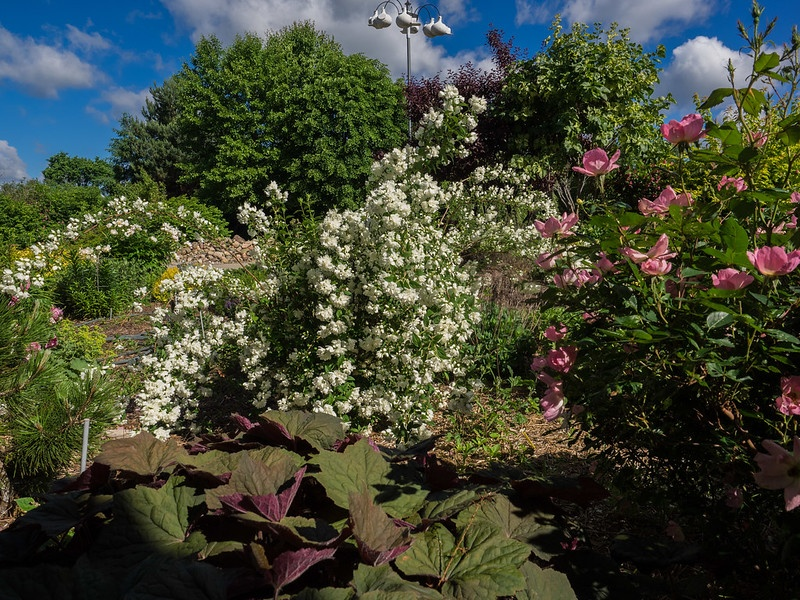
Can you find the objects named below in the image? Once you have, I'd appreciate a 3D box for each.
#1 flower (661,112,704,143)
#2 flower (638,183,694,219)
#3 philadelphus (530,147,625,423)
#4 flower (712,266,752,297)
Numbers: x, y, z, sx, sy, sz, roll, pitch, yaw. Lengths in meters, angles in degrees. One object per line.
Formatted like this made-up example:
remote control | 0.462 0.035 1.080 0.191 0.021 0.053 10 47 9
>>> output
flower | 1.136 -0.683 2.094 0.159 0.104 0.176 0 0 6
flower | 1.064 -0.388 2.123 0.182 0.074 0.152 -10 24 37
philadelphus | 0.715 -0.125 2.367 0.403 1.290 0.452 6 -5 7
flower | 1.194 -0.065 1.904 0.122 0.107 0.057 -4 -44 21
